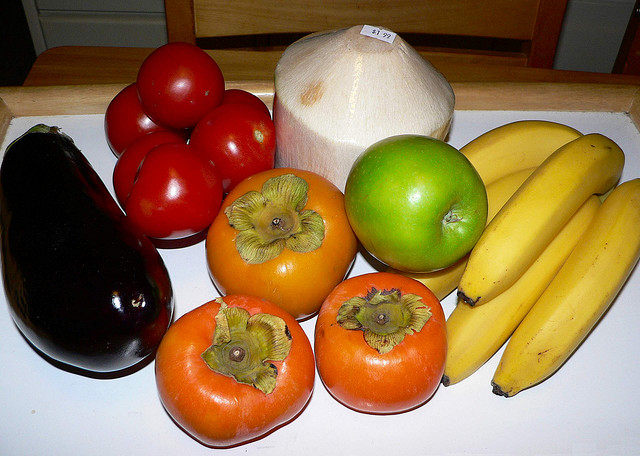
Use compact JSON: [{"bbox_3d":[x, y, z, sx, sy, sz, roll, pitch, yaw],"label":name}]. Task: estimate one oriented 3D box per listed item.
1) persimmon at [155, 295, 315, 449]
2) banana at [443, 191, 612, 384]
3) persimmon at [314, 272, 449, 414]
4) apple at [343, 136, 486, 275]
[{"bbox_3d":[-0.134,0.217,0.856,0.239,0.114,0.196,-20,51,-18],"label":"persimmon"},{"bbox_3d":[0.347,0.106,0.909,0.320,0.104,0.074,-47,50,-3],"label":"banana"},{"bbox_3d":[0.092,0.182,0.854,0.199,0.118,0.211,-12,63,-3],"label":"persimmon"},{"bbox_3d":[0.164,-0.041,0.923,0.240,0.163,0.176,19,50,15],"label":"apple"}]
